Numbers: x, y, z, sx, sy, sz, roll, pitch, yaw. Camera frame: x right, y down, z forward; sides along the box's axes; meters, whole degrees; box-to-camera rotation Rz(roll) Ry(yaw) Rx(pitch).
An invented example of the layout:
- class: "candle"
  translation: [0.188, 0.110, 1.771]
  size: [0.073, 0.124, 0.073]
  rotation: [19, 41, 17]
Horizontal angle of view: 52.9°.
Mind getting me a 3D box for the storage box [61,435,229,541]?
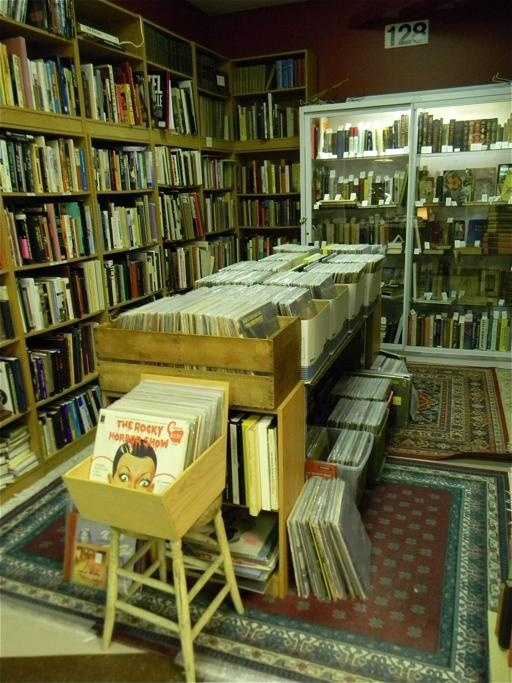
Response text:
- class: "storage box"
  translation: [-0.271, 0.397, 1.326]
  size: [0.312, 0.253, 0.339]
  rotation: [2, 13, 21]
